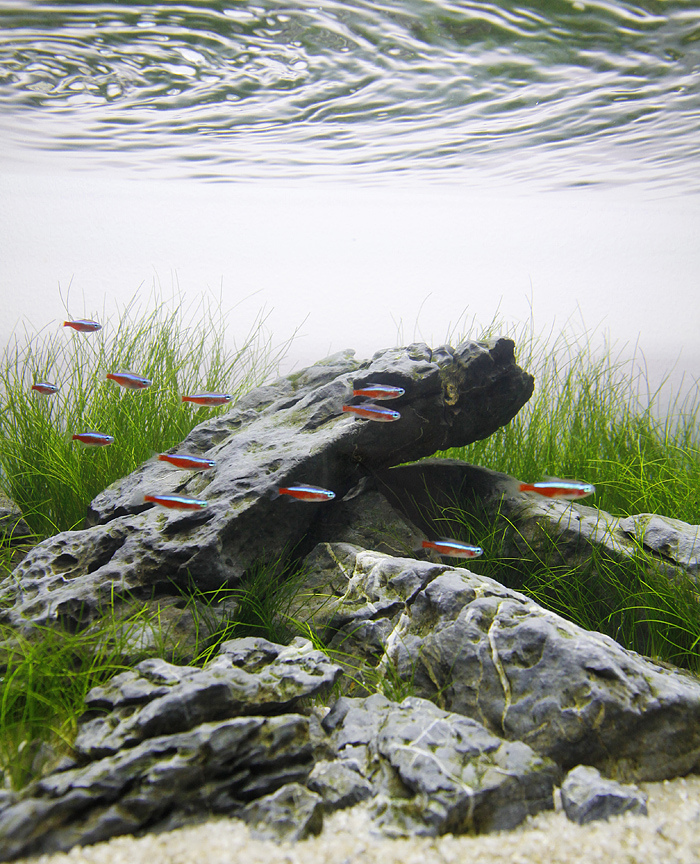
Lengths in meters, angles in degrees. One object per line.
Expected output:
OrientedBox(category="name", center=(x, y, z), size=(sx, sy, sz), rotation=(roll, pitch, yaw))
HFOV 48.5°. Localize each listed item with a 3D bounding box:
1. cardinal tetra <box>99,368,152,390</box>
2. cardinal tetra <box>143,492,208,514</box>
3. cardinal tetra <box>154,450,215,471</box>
OrientedBox(category="cardinal tetra", center=(-1.421, -0.322, 4.840), size=(0.336, 0.072, 0.158), rotation=(5, -23, -5))
OrientedBox(category="cardinal tetra", center=(-0.838, 0.348, 3.759), size=(0.332, 0.101, 0.053), rotation=(10, -12, -5))
OrientedBox(category="cardinal tetra", center=(-0.870, 0.156, 4.121), size=(0.269, 0.098, 0.058), rotation=(11, 17, -37))
